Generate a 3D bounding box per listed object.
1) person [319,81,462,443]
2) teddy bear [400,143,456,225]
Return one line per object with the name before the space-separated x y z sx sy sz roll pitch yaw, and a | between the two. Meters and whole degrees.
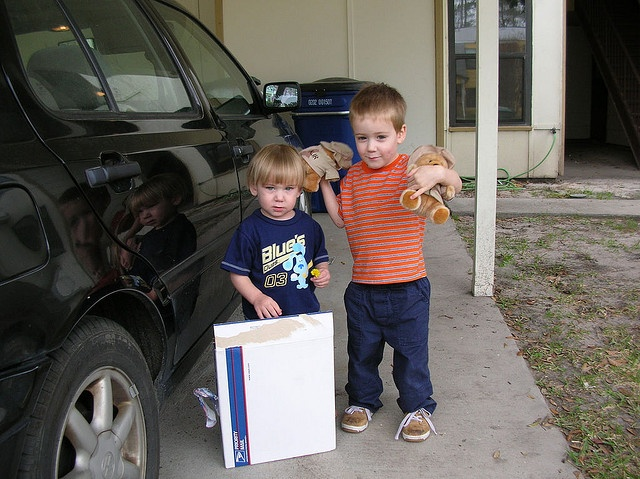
person | 0.261 0.137 2.130 0.461 1.558 0.488 -3 20 10
teddy bear | 0.455 -0.233 1.978 0.204 0.268 0.346 -1 21 16
